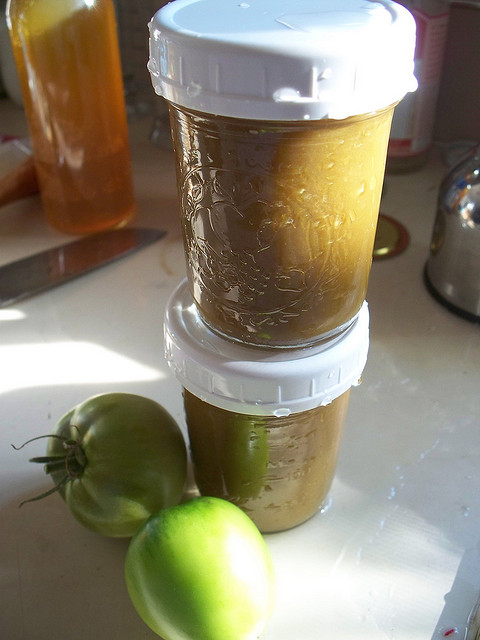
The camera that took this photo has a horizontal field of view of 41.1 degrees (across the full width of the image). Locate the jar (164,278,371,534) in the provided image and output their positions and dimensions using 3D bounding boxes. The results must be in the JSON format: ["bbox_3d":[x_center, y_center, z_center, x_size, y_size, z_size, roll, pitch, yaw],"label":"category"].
[{"bbox_3d":[0.019,0.072,0.523,0.157,0.164,0.148,1,26,0],"label":"jar"}]
